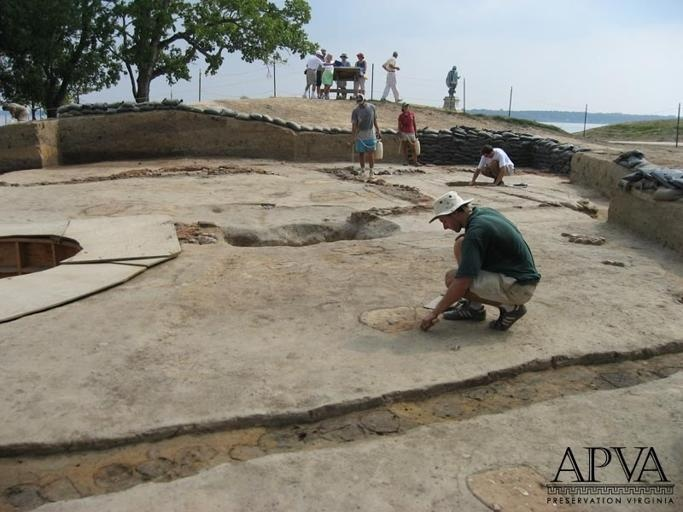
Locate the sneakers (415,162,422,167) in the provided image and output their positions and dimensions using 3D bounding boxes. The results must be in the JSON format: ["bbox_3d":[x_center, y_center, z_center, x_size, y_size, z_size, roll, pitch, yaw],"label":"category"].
[{"bbox_3d":[1.957,-2.339,13.447,0.226,0.056,0.267,1,4,11],"label":"sneakers"}]

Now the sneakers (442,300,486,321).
[{"bbox_3d":[1.024,0.455,4.378,0.451,0.155,0.137,3,5,7],"label":"sneakers"}]

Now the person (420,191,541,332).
[{"bbox_3d":[1.047,0.052,4.073,0.880,1.067,0.490,-1,14,-7],"label":"person"}]

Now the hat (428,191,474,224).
[{"bbox_3d":[0.818,-0.391,4.061,0.436,0.146,0.352,-26,1,15],"label":"hat"}]

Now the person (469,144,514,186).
[{"bbox_3d":[3.079,-1.819,10.698,0.787,0.690,0.840,6,15,33],"label":"person"}]
